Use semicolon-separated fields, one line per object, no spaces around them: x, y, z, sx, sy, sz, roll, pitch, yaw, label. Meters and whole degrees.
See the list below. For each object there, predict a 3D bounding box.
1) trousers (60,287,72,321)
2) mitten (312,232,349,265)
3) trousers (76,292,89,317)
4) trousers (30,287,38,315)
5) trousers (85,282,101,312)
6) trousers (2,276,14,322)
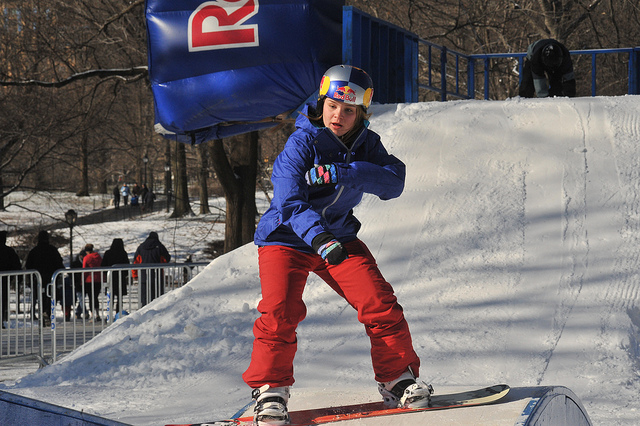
-5.927;2.138;29.231;0.239;0.780;1.105;-2;-2;-13;trousers
0.211;0.655;23.525;0.650;0.259;0.478;35;-33;1;mitten
-5.590;2.133;29.128;0.393;0.711;0.477;2;-18;-14;trousers
-6.878;2.074;29.944;0.180;0.657;2.082;-2;-2;-13;trousers
-5.332;2.012;29.456;0.405;0.746;0.270;-1;5;12;trousers
-7.347;1.998;29.098;0.145;1.074;0.774;-2;-2;-15;trousers
